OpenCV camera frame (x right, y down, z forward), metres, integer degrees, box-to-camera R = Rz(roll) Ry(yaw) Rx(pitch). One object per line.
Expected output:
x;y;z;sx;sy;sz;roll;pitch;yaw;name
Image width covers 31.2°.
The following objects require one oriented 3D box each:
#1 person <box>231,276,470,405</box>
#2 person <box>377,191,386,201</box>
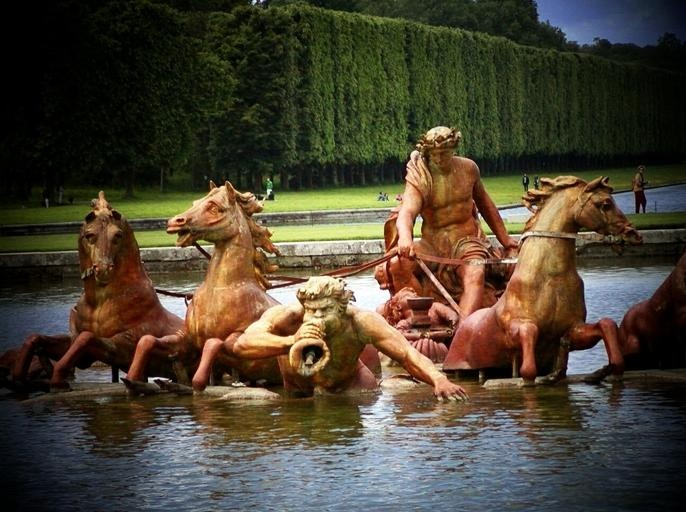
-0.073;0.768;11.647;1.960;1.191;0.832;-2;5;-6;person
1.740;-2.703;56.259;0.280;0.466;0.898;1;1;3;person
